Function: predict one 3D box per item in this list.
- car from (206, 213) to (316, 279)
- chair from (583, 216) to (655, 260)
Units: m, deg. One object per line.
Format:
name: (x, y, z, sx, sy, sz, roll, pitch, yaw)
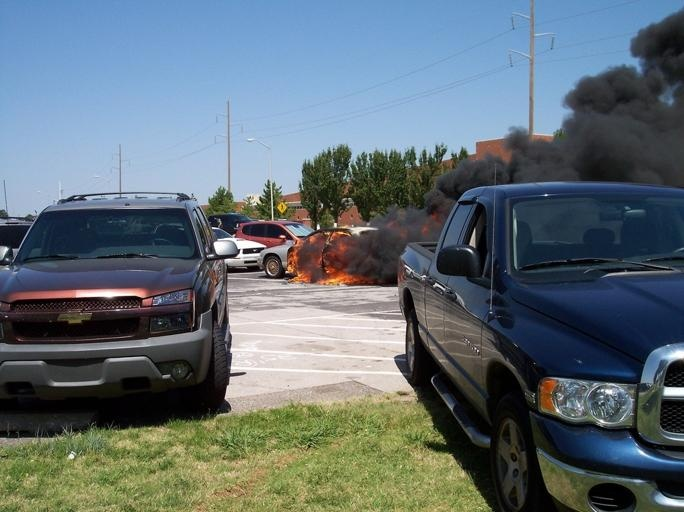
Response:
car: (-2.731, -0.401, 21.223, 1.715, 1.637, 3.640, 1, -2, -37)
chair: (2.071, -0.124, 4.106, 0.344, 0.237, 0.348, 0, -3, 1)
